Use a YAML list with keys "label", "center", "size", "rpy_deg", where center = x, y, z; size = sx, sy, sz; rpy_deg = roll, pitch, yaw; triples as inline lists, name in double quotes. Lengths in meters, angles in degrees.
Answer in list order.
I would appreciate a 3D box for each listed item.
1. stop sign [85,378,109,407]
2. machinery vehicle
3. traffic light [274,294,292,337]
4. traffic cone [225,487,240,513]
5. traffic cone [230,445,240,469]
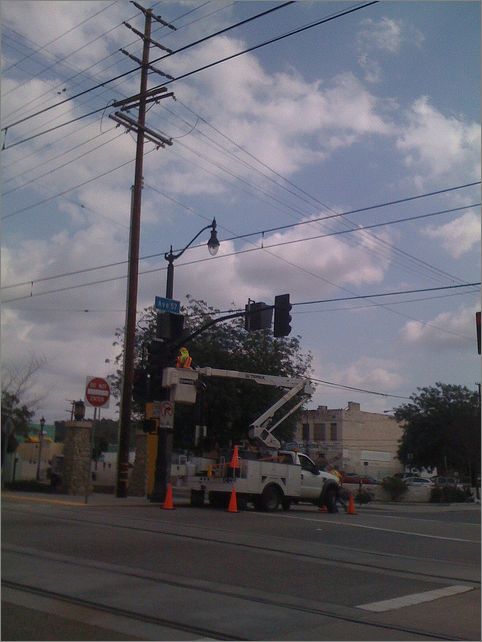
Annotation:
- label: "stop sign"
  center: [-3.411, 1.711, 16.045]
  size: [0.257, 0.716, 0.709]
  rpy_deg: [-5, -15, 34]
- label: "machinery vehicle"
  center: [0.730, 3.431, 20.476]
  size: [4.158, 4.513, 6.646]
  rpy_deg: [-2, -15, 23]
- label: "traffic light"
  center: [1.113, -0.164, 18.084]
  size: [0.436, 1.179, 1.270]
  rpy_deg: [3, -13, 2]
- label: "traffic cone"
  center: [-0.290, 4.556, 16.999]
  size: [0.383, 0.694, 0.458]
  rpy_deg: [1, -14, -3]
- label: "traffic cone"
  center: [-0.170, 3.743, 18.546]
  size: [0.226, 0.641, 0.499]
  rpy_deg: [3, -12, -2]
